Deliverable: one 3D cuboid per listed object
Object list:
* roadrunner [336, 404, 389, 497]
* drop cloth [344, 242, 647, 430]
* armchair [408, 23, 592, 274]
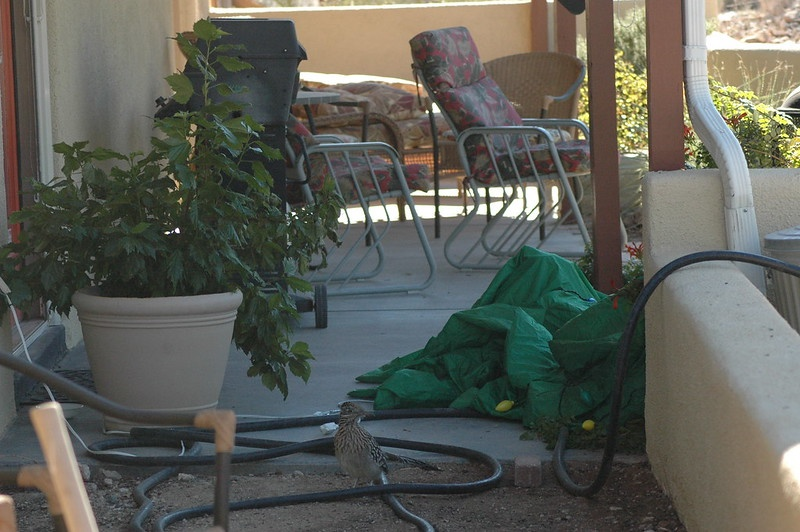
[{"bbox_3d":[-0.109,0.542,3.197,0.175,0.269,0.134,-10,11,-35],"label":"roadrunner"},{"bbox_3d":[0.426,0.251,3.734,0.714,0.294,0.596,-1,5,35],"label":"drop cloth"},{"bbox_3d":[0.769,-0.677,5.895,1.108,1.652,0.787,3,6,37],"label":"armchair"}]
